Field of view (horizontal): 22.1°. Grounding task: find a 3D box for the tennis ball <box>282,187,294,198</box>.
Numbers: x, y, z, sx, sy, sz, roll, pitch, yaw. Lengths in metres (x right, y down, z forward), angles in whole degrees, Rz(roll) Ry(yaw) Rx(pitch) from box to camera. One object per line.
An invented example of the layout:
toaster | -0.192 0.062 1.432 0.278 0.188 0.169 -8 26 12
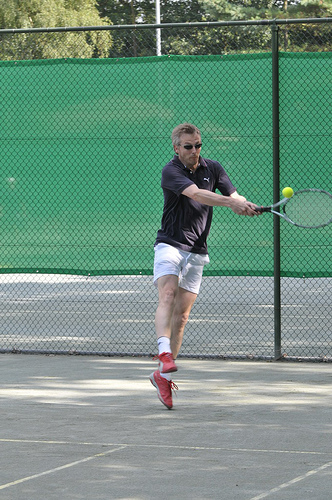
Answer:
tennis ball | 0.744 -0.360 5.212 0.081 0.057 0.061 -1 -29 -3

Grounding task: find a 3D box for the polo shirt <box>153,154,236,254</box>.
polo shirt | 0.150 -0.288 5.316 0.317 0.607 0.526 7 11 35

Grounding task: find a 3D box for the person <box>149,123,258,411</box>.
person | 0.192 0.066 5.205 0.570 1.662 0.925 1 10 0
